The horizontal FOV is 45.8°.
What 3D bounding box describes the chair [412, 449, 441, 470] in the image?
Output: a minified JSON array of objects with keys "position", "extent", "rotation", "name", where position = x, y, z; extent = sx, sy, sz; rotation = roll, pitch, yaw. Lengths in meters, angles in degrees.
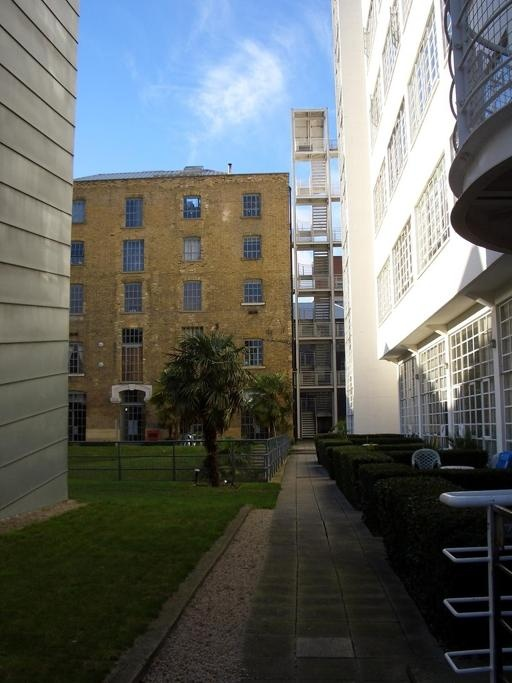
[{"position":[3.379,2.359,12.175],"extent":[0.571,0.359,0.688],"rotation":[-3,-6,16],"name":"chair"}]
